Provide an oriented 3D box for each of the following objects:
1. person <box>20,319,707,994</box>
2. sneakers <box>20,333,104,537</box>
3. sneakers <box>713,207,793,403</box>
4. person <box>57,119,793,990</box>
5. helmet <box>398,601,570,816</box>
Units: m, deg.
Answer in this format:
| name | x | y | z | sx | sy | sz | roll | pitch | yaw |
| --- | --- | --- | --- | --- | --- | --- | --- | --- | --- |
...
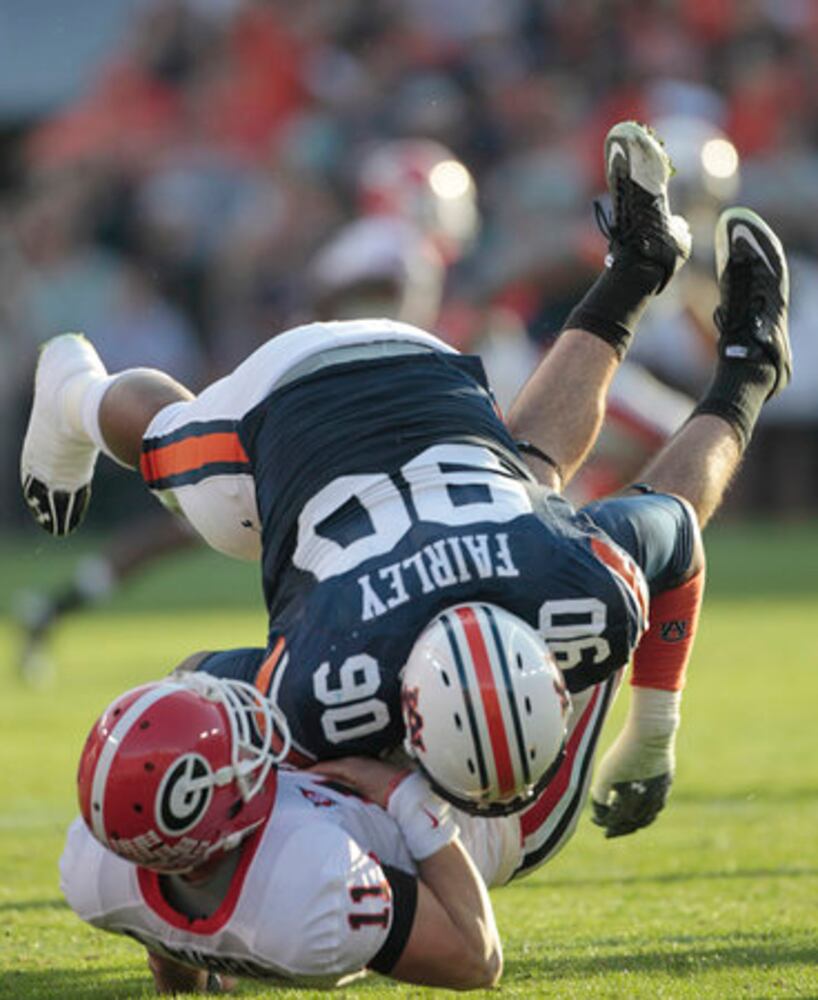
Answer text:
| name | x | y | z | sx | sy | sz | roll | pitch | yaw |
| --- | --- | --- | --- | --- | --- | --- | --- | --- | --- |
| person | -0.013 | 0.099 | 2.397 | 1.018 | 0.531 | 1.310 | 4 | 46 | 1 |
| sneakers | -0.763 | -0.178 | 3.303 | 0.219 | 0.482 | 0.184 | 5 | -13 | -3 |
| sneakers | 0.801 | -0.480 | 3.445 | 0.176 | 0.469 | 0.232 | -3 | -5 | 26 |
| person | 0.038 | 0.154 | 2.580 | 1.187 | 0.584 | 1.490 | 2 | 42 | 8 |
| helmet | 0.121 | 0.318 | 2.149 | 0.241 | 0.247 | 0.280 | -15 | 71 | 2 |
